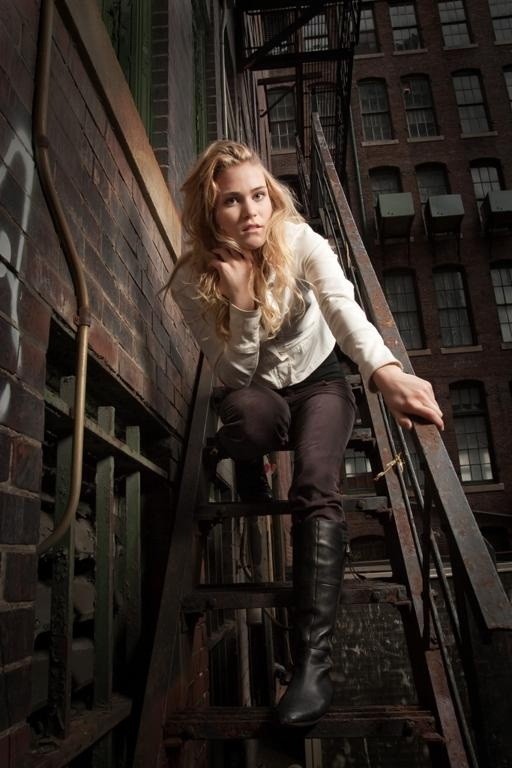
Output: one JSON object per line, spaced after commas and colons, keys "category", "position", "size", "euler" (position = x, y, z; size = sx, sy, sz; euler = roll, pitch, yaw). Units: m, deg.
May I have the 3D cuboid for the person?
{"category": "person", "position": [0.108, -0.035, 1.465], "size": [0.489, 1.649, 0.935], "euler": [7, -19, -31]}

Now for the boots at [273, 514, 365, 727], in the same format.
{"category": "boots", "position": [0.123, 0.497, 1.119], "size": [0.114, 0.392, 0.307], "euler": [-8, -17, 17]}
